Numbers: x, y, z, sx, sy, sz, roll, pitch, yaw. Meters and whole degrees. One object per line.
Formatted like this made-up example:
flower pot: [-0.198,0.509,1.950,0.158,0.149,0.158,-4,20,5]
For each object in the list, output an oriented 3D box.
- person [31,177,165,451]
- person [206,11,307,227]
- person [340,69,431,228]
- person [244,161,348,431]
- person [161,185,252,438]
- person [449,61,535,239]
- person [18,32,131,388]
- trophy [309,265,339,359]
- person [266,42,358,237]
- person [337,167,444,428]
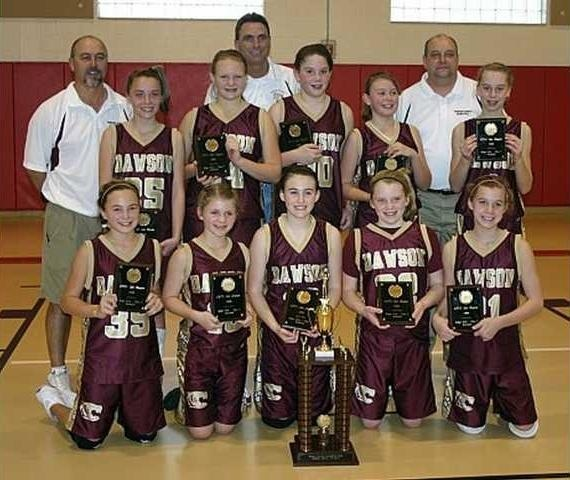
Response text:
person: [-1.004,0.385,3.136,0.658,1.423,0.476,0,5,-2]
person: [-0.205,-1.164,4.604,0.609,2.012,0.637,-3,11,-10]
person: [0.711,-0.332,4.005,0.669,1.614,0.558,-3,15,4]
person: [0.060,0.256,3.404,0.618,1.588,0.522,0,8,-2]
person: [-0.435,0.334,3.316,0.551,1.450,0.512,-1,8,-6]
person: [1.382,-0.620,3.769,0.446,1.327,0.217,-1,10,-13]
person: [-1.356,-0.118,3.850,0.771,2.439,0.666,-1,5,-37]
trophy: [0.206,0.406,2.993,0.143,0.488,0.152,-3,-3,28]
person: [0.201,-0.754,3.870,0.578,1.475,0.461,0,8,-5]
person: [0.646,0.337,3.313,0.621,1.477,0.466,0,5,1]
